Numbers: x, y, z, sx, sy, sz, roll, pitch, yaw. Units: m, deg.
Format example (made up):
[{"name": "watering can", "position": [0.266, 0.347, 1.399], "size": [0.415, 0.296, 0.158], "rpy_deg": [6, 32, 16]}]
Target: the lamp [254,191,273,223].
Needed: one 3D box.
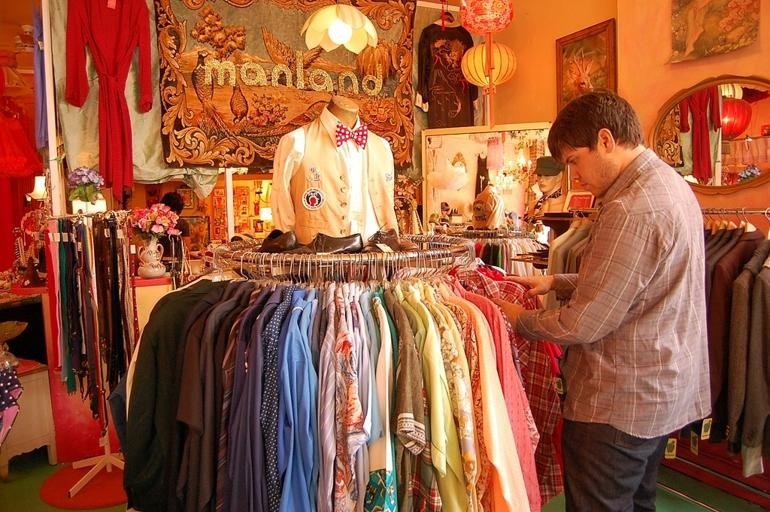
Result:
[{"name": "lamp", "position": [-1.483, -0.606, 6.919], "size": [0.195, 0.374, 0.100], "rpy_deg": [1, 6, 15]}]

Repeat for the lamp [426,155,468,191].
[{"name": "lamp", "position": [0.611, -0.798, 5.522], "size": [0.333, 0.331, 0.329], "rpy_deg": [-10, 21, -42]}]

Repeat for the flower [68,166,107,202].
[{"name": "flower", "position": [-2.347, -0.555, 4.570], "size": [0.271, 0.306, 0.281], "rpy_deg": [1, 4, -2]}]

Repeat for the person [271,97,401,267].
[{"name": "person", "position": [-0.304, -0.560, 3.878], "size": [0.850, 1.152, 0.482], "rpy_deg": [-6, 32, -19]}]

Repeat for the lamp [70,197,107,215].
[{"name": "lamp", "position": [-2.343, -0.404, 4.516], "size": [0.193, 0.212, 0.195], "rpy_deg": [-2, -2, -1]}]

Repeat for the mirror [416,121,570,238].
[{"name": "mirror", "position": [0.996, -0.665, 5.131], "size": [1.098, 1.211, 0.058], "rpy_deg": [2, 3, 18]}]

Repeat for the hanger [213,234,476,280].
[{"name": "hanger", "position": [-0.190, 0.012, 2.937], "size": [1.362, 0.174, 0.611], "rpy_deg": [-2, 6, -17]}]

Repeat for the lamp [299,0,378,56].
[{"name": "lamp", "position": [-0.320, -1.577, 3.922], "size": [0.474, 0.276, 0.360], "rpy_deg": [3, 7, 31]}]

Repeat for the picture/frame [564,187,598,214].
[{"name": "picture/frame", "position": [1.418, -0.426, 4.213], "size": [0.247, 0.258, 0.060], "rpy_deg": [5, -7, 43]}]

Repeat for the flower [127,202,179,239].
[{"name": "flower", "position": [-1.798, -0.250, 4.483], "size": [0.272, 0.237, 0.295], "rpy_deg": [12, 44, -7]}]

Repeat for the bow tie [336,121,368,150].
[{"name": "bow tie", "position": [-0.224, -0.788, 3.704], "size": [0.170, 0.146, 0.040], "rpy_deg": [-3, 8, -20]}]
